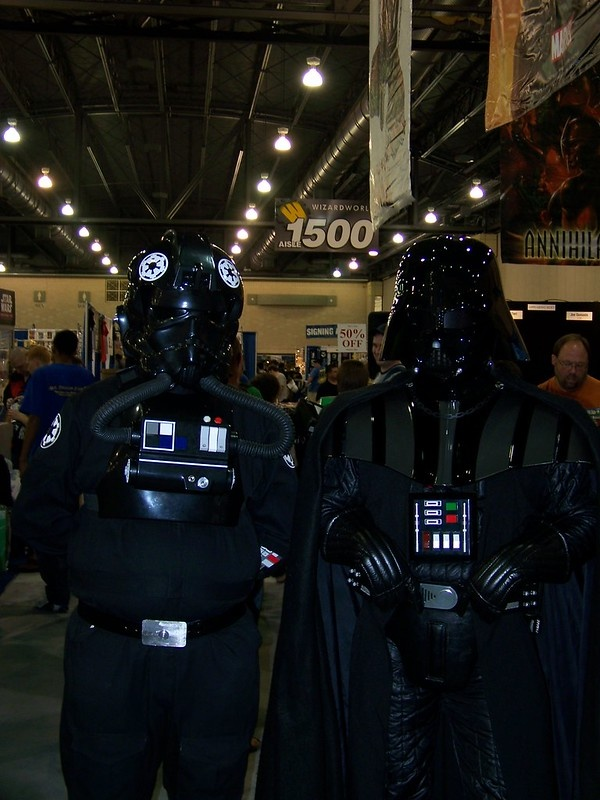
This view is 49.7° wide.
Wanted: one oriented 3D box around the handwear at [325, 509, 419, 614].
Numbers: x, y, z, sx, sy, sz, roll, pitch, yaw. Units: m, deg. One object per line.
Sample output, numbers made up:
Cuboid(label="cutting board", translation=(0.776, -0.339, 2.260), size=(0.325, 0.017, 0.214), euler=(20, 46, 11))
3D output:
Cuboid(label="handwear", translation=(0.150, 0.330, 1.427), size=(0.098, 0.158, 0.209), euler=(-20, 52, -35))

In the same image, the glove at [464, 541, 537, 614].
Cuboid(label="glove", translation=(0.421, 0.367, 1.360), size=(0.096, 0.159, 0.066), euler=(40, -7, 30))

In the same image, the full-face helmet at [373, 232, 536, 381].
Cuboid(label="full-face helmet", translation=(0.328, -0.156, 1.674), size=(0.497, 0.481, 0.313), euler=(1, -4, 8))
